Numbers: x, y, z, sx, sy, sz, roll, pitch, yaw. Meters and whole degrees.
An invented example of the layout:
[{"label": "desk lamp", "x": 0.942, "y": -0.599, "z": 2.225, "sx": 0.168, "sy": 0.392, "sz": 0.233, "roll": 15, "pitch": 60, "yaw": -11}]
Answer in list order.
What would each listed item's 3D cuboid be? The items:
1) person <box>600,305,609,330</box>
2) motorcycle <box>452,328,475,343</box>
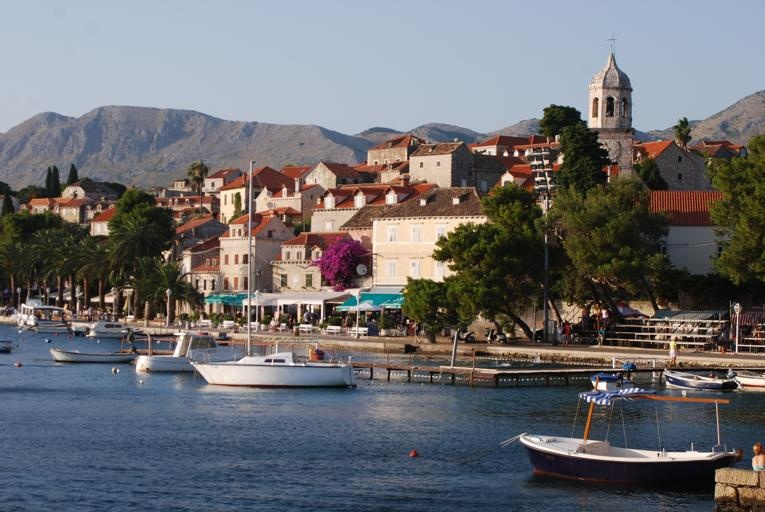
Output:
[{"label": "person", "x": 22.403, "y": 6.264, "z": 181.448, "sx": 0.687, "sy": 2.030, "sz": 1.351, "roll": -1, "pitch": -7, "yaw": 6}, {"label": "motorcycle", "x": 8.599, "y": 8.319, "z": 189.829, "sx": 2.500, "sy": 1.455, "sz": 1.295, "roll": 2, "pitch": -7, "yaw": 9}]
